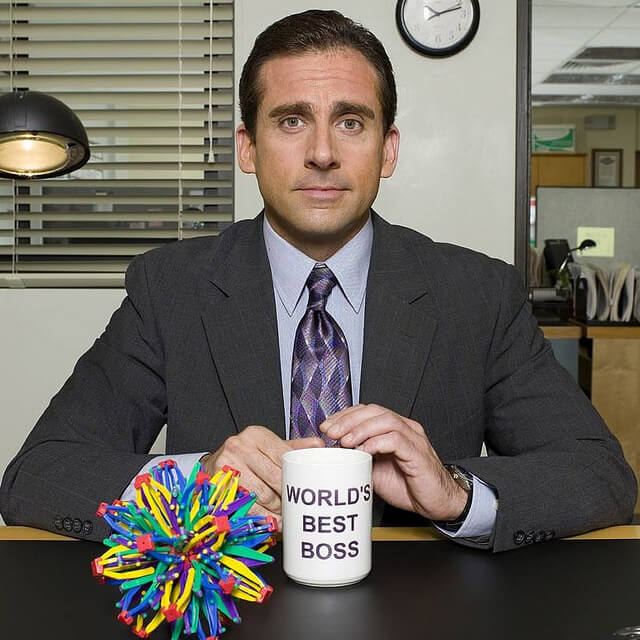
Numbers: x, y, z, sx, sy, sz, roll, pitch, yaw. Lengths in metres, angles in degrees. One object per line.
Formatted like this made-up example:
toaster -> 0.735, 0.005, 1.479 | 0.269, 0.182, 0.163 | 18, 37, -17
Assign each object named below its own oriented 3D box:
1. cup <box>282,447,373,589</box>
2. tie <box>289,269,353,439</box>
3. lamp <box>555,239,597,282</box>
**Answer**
cup -> 0.009, 0.195, 0.704 | 0.105, 0.126, 0.128 | 0, 0, -5
tie -> 0.000, 0.048, 1.119 | 0.095, 0.270, 0.205 | 0, 5, -2
lamp -> 1.140, -0.263, 3.050 | 0.137, 0.197, 0.083 | 21, -27, 27
